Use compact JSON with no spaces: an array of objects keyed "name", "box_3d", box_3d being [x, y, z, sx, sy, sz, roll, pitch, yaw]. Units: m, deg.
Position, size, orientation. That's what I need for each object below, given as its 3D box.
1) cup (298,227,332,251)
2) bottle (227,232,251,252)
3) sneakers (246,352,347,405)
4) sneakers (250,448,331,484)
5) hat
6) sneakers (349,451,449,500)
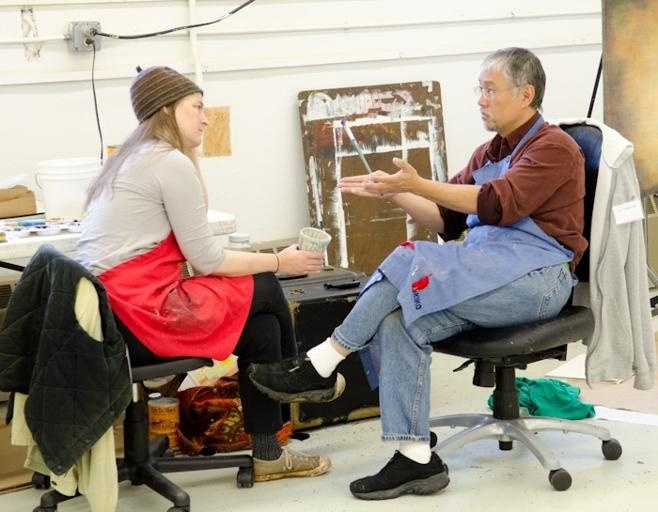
[{"name":"cup","box_3d":[-0.044,-0.058,2.232,0.107,0.061,0.087,6,26,-13]},{"name":"bottle","box_3d":[-0.381,-0.060,2.792,0.110,0.063,0.103,1,8,0]},{"name":"sneakers","box_3d":[-0.077,0.407,2.133,0.351,0.143,0.121,7,35,-24]},{"name":"sneakers","box_3d":[-0.139,0.729,2.286,0.277,0.084,0.101,-4,4,-12]},{"name":"hat","box_3d":[-0.547,-0.546,2.117,0.232,0.152,0.180,-22,7,-9]},{"name":"sneakers","box_3d":[0.239,0.711,2.142,0.387,0.140,0.131,-2,1,-6]}]
